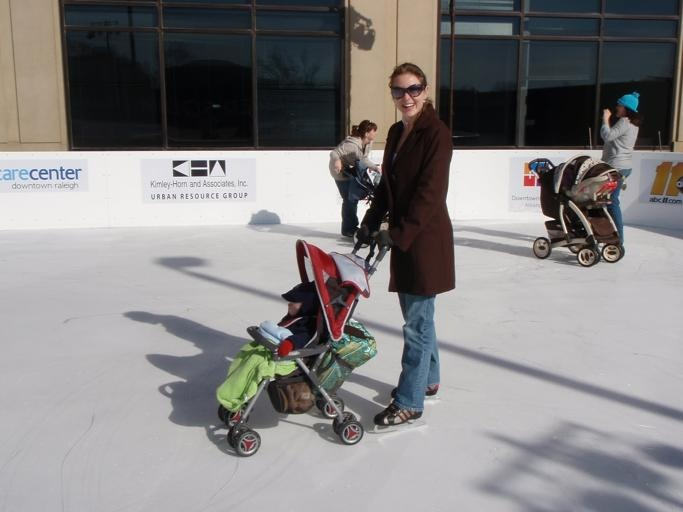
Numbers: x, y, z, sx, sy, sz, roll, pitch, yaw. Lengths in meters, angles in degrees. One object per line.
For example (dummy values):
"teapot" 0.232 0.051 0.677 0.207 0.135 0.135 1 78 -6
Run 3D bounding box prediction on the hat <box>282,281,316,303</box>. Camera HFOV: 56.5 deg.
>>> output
"hat" -0.273 0.238 4.253 0.187 0.061 0.126 -3 25 -8

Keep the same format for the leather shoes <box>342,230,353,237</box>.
"leather shoes" 0.091 -0.362 10.300 0.188 0.074 0.138 -2 11 -17

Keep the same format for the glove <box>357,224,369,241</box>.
"glove" 0.144 -0.148 4.275 0.097 0.097 0.062 -16 10 -31

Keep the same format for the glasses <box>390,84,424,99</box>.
"glasses" 0.438 -1.086 4.192 0.220 0.097 0.090 1 14 7

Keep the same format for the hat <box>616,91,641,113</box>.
"hat" 4.221 -2.250 9.326 0.218 0.281 0.485 9 17 34

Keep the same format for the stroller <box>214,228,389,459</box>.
"stroller" -0.259 0.554 4.201 1.124 1.318 0.534 -3 14 -13

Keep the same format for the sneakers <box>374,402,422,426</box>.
"sneakers" 0.373 1.095 4.401 0.371 0.165 0.138 0 4 -15

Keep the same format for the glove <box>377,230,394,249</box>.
"glove" 0.283 -0.111 4.085 0.079 0.120 0.097 -2 31 -2
